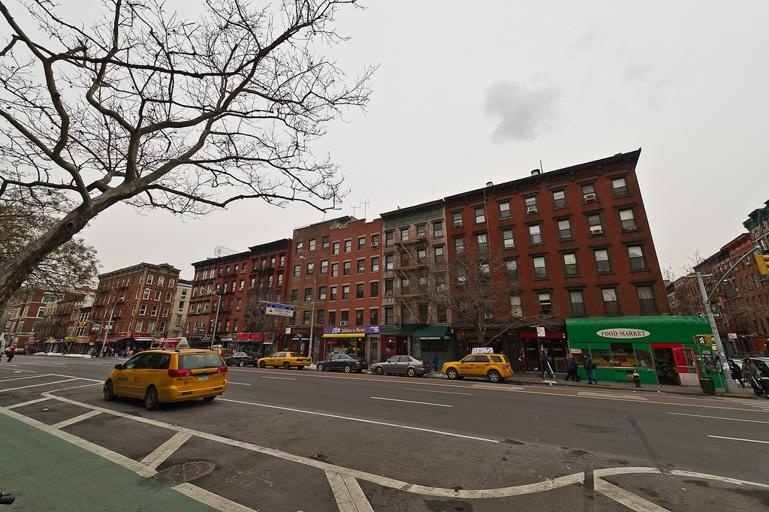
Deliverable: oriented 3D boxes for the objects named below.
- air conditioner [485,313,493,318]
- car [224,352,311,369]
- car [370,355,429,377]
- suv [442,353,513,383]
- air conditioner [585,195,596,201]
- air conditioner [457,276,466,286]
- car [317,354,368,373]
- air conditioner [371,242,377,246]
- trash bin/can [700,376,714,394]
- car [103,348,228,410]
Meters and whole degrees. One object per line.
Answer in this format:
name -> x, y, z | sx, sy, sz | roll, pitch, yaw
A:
air conditioner -> 8.865, 5.039, 31.941 | 0.742, 0.430, 0.363 | -5, -24, 15
car -> -10.762, 9.258, 34.280 | 8.246, 1.546, 1.834 | -10, -20, 29
car -> 1.226, 7.765, 27.307 | 3.857, 1.029, 1.529 | -3, -15, 22
suv -> 6.265, 7.248, 24.981 | 4.227, 1.410, 1.948 | -5, -19, 31
air conditioner -> 16.604, -4.668, 30.375 | 0.595, 0.680, 0.659 | -11, -18, 33
air conditioner -> 6.829, 2.141, 33.470 | 0.453, 0.980, 0.988 | 9, -20, -27
car -> -3.366, 8.328, 29.746 | 3.792, 1.388, 1.331 | -13, -21, 36
air conditioner -> -1.078, -1.276, 40.628 | 0.731, 0.507, 0.341 | 0, -9, 9
trash bin/can -> 17.580, 6.945, 20.472 | 0.544, 0.833, 0.547 | -11, -21, 28
car -> -8.268, 4.294, 13.827 | 3.976, 1.372, 2.171 | -2, -16, 20
